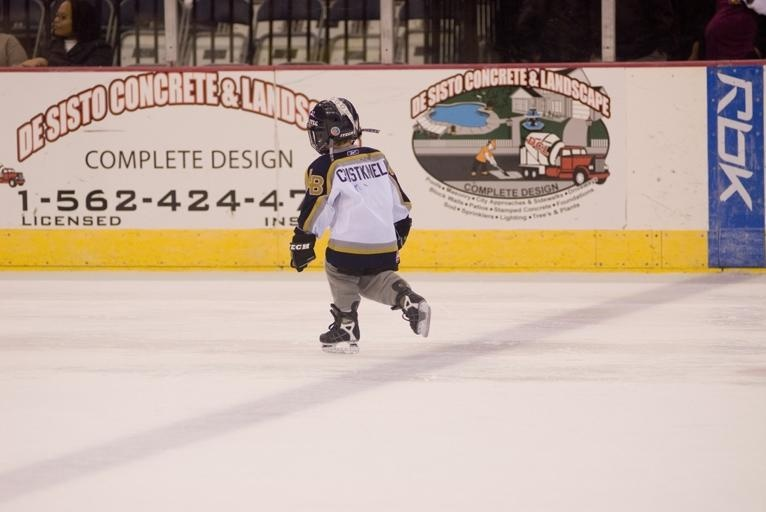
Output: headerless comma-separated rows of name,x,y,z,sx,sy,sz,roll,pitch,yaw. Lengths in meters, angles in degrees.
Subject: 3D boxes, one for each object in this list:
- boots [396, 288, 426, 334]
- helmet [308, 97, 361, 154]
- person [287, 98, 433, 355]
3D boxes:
boots,0.282,0.510,12.033,0.248,0.505,0.168,-4,46,16
helmet,-0.503,-1.233,12.539,0.585,0.507,0.472,-9,13,-20
person,-0.274,-0.287,12.236,1.165,2.304,0.745,1,8,-3
